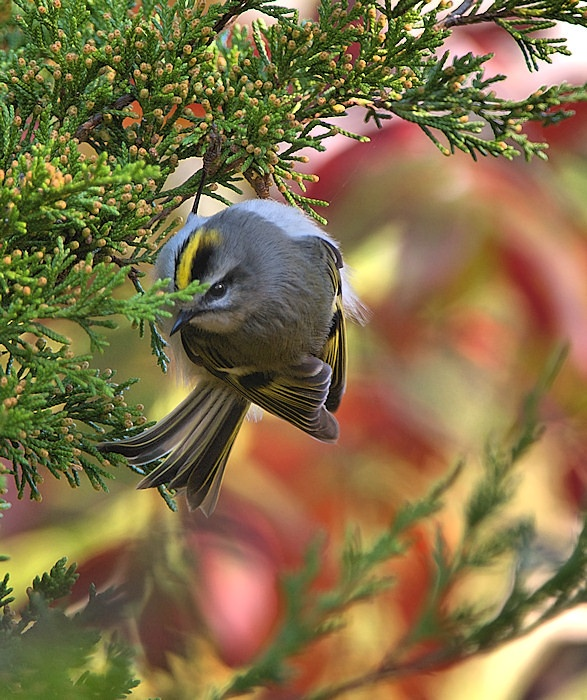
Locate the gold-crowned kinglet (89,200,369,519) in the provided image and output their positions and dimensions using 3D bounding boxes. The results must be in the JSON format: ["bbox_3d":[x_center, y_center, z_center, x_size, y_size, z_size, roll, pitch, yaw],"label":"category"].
[{"bbox_3d":[0.007,0.031,1.540,0.551,0.605,0.403,1,50,10],"label":"gold-crowned kinglet"}]
